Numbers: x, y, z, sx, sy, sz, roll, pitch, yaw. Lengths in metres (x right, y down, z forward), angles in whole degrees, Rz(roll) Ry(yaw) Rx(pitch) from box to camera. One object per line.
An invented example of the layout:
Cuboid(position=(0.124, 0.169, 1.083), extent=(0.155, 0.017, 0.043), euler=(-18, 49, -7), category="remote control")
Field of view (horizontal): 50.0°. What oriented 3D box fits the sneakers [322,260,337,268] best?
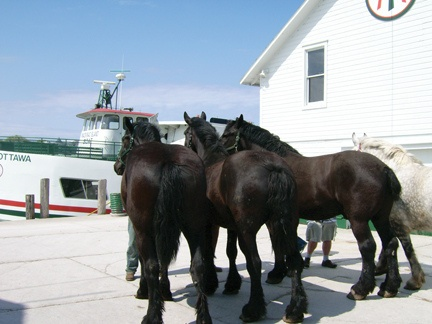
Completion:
Cuboid(position=(2.253, 2.046, 9.332), extent=(0.321, 0.146, 0.110), euler=(-4, -3, 33), category="sneakers")
